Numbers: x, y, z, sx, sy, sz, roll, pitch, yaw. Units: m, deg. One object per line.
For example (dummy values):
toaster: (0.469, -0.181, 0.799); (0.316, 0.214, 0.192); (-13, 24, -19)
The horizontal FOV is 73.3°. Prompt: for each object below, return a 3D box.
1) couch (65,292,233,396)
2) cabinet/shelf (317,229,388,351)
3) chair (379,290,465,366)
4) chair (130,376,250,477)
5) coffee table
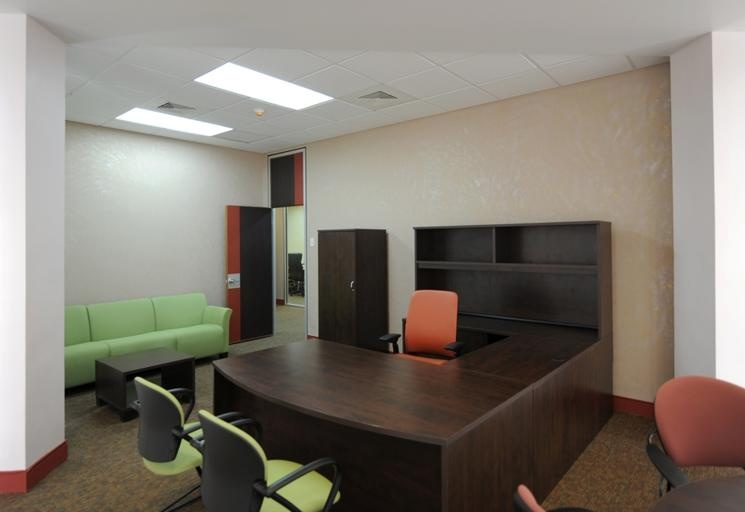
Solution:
couch: (-3.261, 1.151, 7.160); (0.789, 0.990, 2.519); (2, 3, 36)
cabinet/shelf: (-0.332, 0.525, 7.617); (0.789, 1.730, 0.608); (4, 8, 40)
chair: (0.684, 0.722, 5.791); (0.818, 1.142, 0.786); (1, 0, 28)
chair: (-1.460, 1.324, 4.242); (0.753, 1.003, 0.869); (2, 1, 39)
coffee table: (-2.758, 1.391, 6.004); (1.039, 0.649, 1.022); (8, 7, 37)
